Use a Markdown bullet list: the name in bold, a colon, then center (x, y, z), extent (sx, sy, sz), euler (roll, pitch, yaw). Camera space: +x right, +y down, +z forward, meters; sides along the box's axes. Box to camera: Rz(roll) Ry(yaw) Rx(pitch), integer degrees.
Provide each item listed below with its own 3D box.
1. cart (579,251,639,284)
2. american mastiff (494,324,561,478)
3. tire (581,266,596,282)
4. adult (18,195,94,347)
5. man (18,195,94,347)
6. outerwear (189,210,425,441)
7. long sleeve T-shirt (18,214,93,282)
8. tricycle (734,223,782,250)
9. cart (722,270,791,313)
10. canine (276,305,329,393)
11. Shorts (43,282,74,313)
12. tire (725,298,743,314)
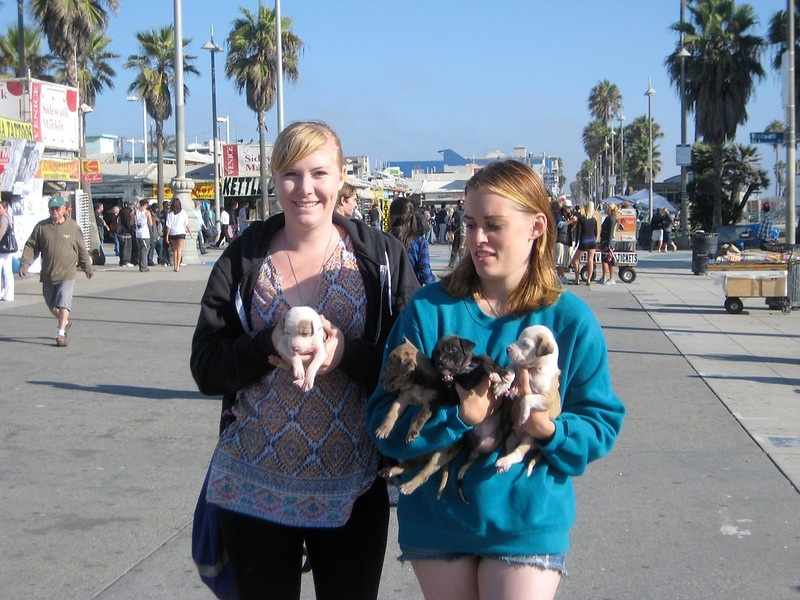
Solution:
- **cart**: center (5.664, -0.939, 20.994), extent (1.397, 0.873, 0.914), euler (1, 0, 0)
- **american mastiff**: center (0.542, 0.407, 3.214), extent (0.331, 0.620, 0.220), euler (-8, 24, -43)
- **tire**: center (5.089, -0.738, 21.175), extent (0.104, 0.441, 0.420), euler (-9, 24, 49)
- **adult**: center (-5.199, -0.480, 11.820), extent (1.031, 2.168, 1.413), euler (-4, 8, -27)
- **man**: center (-5.195, -0.482, 11.834), extent (1.028, 2.168, 1.442), euler (-4, 8, -27)
- **outerwear**: center (-0.416, 0.048, 3.860), extent (1.210, 1.470, 0.864), euler (2, -4, 4)
- **long sleeve T-shirt**: center (-5.237, -0.787, 11.954), extent (1.059, 1.043, 0.489), euler (1, 11, -30)
- **tricycle**: center (14.763, -2.622, 32.329), extent (1.757, 0.977, 2.544), euler (-4, 6, 11)
- **cart**: center (6.766, -0.159, 14.913), extent (1.087, 0.801, 0.716), euler (1, 1, 5)
- **canine**: center (-0.420, 0.229, 3.395), extent (0.214, 0.402, 0.157), euler (-6, 9, -39)
- **Shorts**: center (-5.120, -0.068, 11.672), extent (0.436, 0.469, 0.258), euler (4, 8, 30)
- **tire**: center (6.383, 0.111, 14.869), extent (0.201, 0.228, 0.082), euler (-23, 0, 4)
